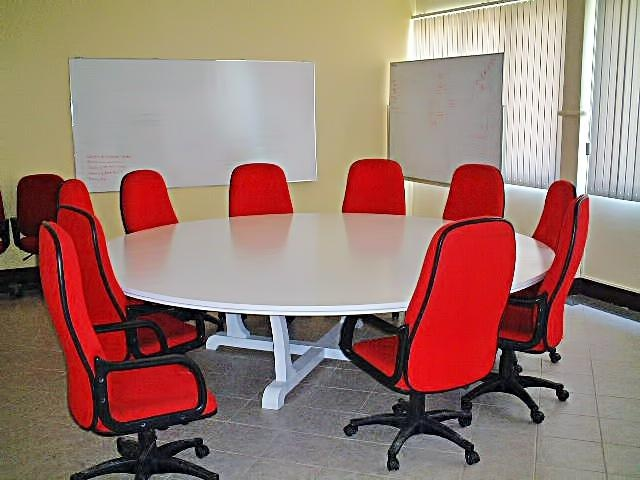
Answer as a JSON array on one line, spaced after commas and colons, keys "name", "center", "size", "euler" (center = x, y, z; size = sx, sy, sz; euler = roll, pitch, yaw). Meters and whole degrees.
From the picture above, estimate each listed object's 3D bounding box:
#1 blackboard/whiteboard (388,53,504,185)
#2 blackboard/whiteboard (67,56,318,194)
[{"name": "blackboard/whiteboard", "center": [1.527, -1.458, 6.041], "size": [0.159, 1.737, 1.955], "euler": [-6, 7, -38]}, {"name": "blackboard/whiteboard", "center": [-1.616, -1.384, 5.929], "size": [2.045, 1.127, 0.030], "euler": [-7, 17, -20]}]
